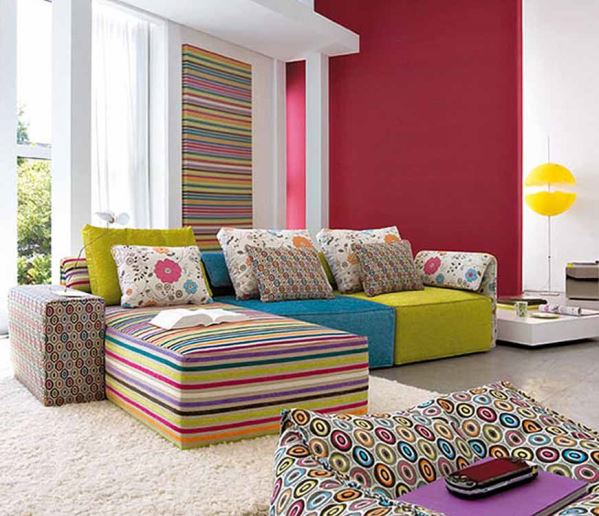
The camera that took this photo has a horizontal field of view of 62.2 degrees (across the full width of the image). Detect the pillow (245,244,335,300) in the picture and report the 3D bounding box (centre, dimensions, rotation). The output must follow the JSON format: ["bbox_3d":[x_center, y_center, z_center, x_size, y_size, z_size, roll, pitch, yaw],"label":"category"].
[{"bbox_3d":[-0.108,0.070,3.709,0.636,0.430,0.166,-1,-30,-30],"label":"pillow"}]

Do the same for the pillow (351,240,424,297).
[{"bbox_3d":[0.698,-0.013,4.143,0.564,0.195,0.605,-4,45,-8],"label":"pillow"}]

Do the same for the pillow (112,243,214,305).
[{"bbox_3d":[-0.773,0.020,2.990,0.586,0.395,0.146,0,-32,-32],"label":"pillow"}]

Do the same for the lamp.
[{"bbox_3d":[3.583,-0.650,7.084,0.685,2.303,0.863,2,3,24],"label":"lamp"}]

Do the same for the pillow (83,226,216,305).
[{"bbox_3d":[-1.113,0.016,3.396,0.966,0.251,0.950,6,32,-17],"label":"pillow"}]
